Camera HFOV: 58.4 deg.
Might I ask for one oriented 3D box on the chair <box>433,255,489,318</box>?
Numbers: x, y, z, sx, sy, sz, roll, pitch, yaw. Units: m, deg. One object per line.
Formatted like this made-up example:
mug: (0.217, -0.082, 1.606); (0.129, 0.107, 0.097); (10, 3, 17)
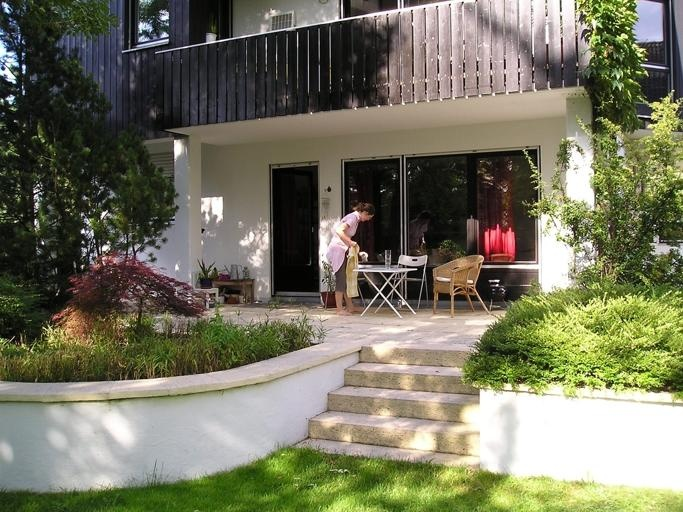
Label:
chair: (1.882, 0.449, 9.824); (0.739, 1.044, 0.777); (1, -2, 39)

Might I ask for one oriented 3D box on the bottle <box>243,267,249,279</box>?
bottle: (-2.069, 0.331, 13.187); (0.175, 0.250, 0.095); (-1, -2, 11)

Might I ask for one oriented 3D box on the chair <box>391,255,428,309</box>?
chair: (1.180, 0.396, 10.518); (0.497, 1.006, 0.591); (-3, -11, 32)

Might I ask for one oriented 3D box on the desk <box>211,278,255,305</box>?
desk: (-2.225, 0.718, 12.812); (0.799, 0.518, 0.611); (-1, -2, -8)

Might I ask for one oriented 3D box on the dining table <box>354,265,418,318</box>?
dining table: (0.817, 0.577, 10.972); (0.731, 0.946, 0.825); (-2, -5, 21)

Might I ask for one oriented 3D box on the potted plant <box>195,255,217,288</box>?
potted plant: (-2.652, 0.328, 12.333); (0.459, 0.828, 0.480); (-2, -1, 41)

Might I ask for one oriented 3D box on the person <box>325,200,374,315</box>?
person: (0.085, 0.046, 9.939); (0.515, 1.765, 0.843); (0, -2, -37)
